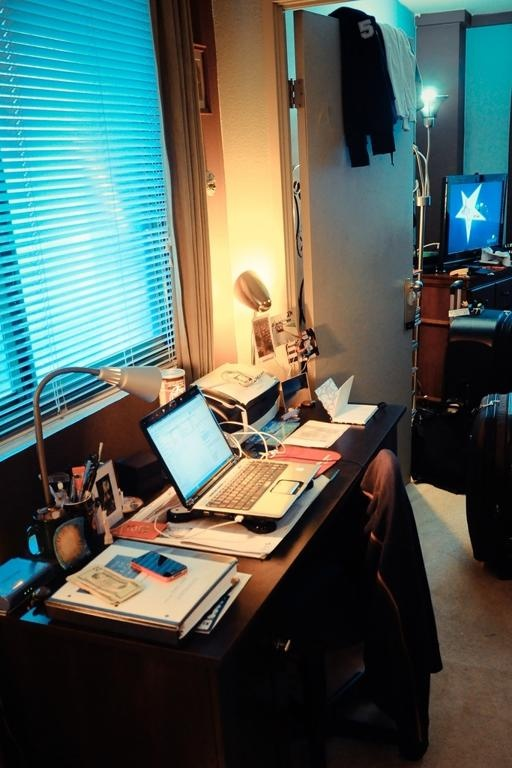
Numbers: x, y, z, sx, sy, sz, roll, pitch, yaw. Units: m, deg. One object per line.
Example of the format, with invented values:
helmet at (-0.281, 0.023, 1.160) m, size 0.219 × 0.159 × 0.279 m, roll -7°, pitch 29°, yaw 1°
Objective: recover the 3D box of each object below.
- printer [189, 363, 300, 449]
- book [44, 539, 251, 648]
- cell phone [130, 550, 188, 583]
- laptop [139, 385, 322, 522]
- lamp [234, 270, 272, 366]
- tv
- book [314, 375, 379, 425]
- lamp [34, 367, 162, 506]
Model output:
printer at (-0.075, 0.035, 1.948) m, size 0.289 × 0.139 × 0.383 m, roll 16°, pitch 29°, yaw 28°
book at (-0.193, 0.354, 1.053) m, size 0.308 × 0.074 × 0.274 m, roll 6°, pitch 16°, yaw 23°
cell phone at (-0.181, 0.331, 1.060) m, size 0.067 × 0.013 × 0.044 m, roll 8°, pitch 7°, yaw 36°
laptop at (-0.055, 0.154, 1.418) m, size 0.438 × 0.250 × 0.472 m, roll -9°, pitch 10°, yaw -13°
lamp at (-0.014, -0.246, 2.220) m, size 0.143 × 0.373 × 0.319 m, roll -1°, pitch 13°, yaw -2°
tv at (1.630, -1.238, 4.293) m, size 0.086 × 0.656 × 0.896 m, roll 11°, pitch 18°, yaw 44°
book at (0.313, 0.024, 2.029) m, size 0.158 × 0.128 × 0.198 m, roll 2°, pitch 24°, yaw 25°
lamp at (-0.341, 0.121, 1.272) m, size 0.289 × 0.425 × 0.123 m, roll -20°, pitch 46°, yaw -30°
